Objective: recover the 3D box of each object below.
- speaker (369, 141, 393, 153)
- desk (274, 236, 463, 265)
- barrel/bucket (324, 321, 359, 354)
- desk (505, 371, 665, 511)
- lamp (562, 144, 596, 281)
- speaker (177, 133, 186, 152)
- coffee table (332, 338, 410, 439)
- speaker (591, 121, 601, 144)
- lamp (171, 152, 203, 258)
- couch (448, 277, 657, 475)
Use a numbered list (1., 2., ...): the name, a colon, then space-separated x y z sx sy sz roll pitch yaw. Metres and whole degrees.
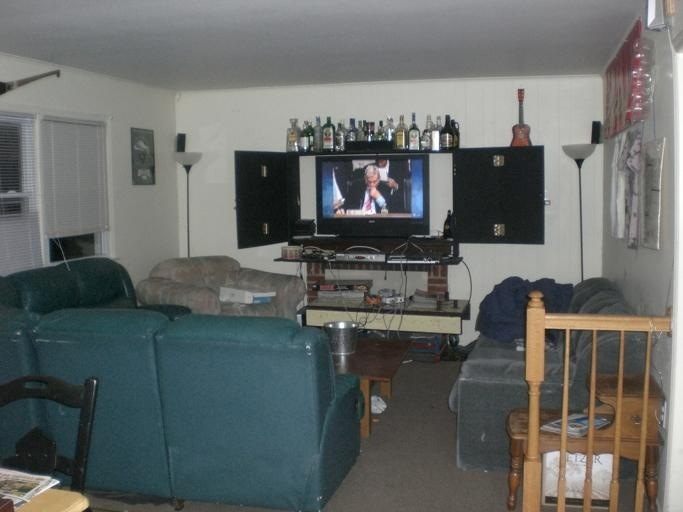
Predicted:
1. speaker: 0.440 -1.107 6.270 0.243 0.132 0.127 7 14 29
2. desk: 0.325 -0.071 6.369 1.772 0.284 0.309 3 12 13
3. barrel/bucket: 0.021 0.634 4.905 0.249 0.198 0.253 -1 -1 0
4. desk: 1.435 0.909 3.746 0.990 0.841 0.720 0 -1 12
5. lamp: 2.268 -0.411 6.038 0.280 1.363 0.453 5 13 21
6. speaker: -1.684 -1.219 6.661 0.088 0.183 0.129 -2 12 -10
7. coffee table: 0.247 0.826 4.635 0.492 0.475 0.944 2 6 16
8. speaker: 2.422 -1.176 5.898 0.096 0.209 0.291 5 13 22
9. lamp: -1.655 -0.562 6.962 0.269 1.223 0.704 -3 12 -14
10. couch: 1.359 0.297 4.210 0.981 0.911 2.106 1 5 20
